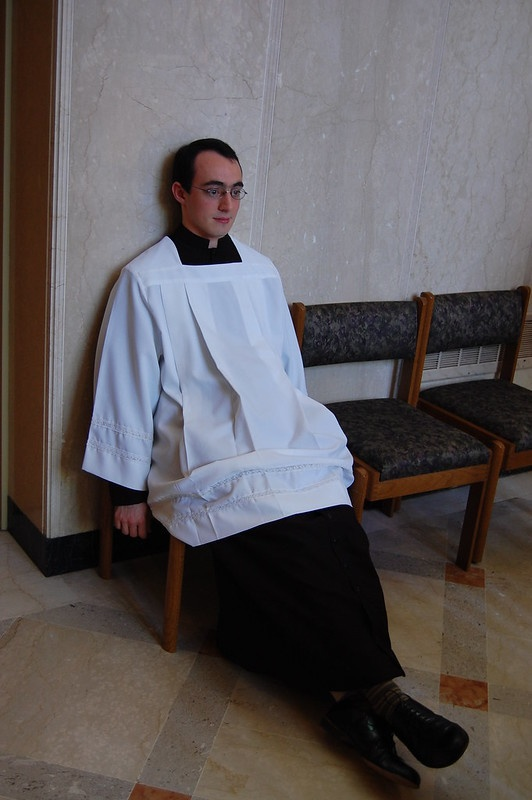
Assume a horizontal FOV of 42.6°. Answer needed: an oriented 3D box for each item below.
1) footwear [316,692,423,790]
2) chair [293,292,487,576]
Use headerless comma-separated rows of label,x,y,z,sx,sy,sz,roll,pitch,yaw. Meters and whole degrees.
footwear,0.210,0.698,1.476,0.281,0.123,0.085,26,6,43
chair,0.395,0.147,2.278,0.597,0.867,0.581,-1,23,-13
